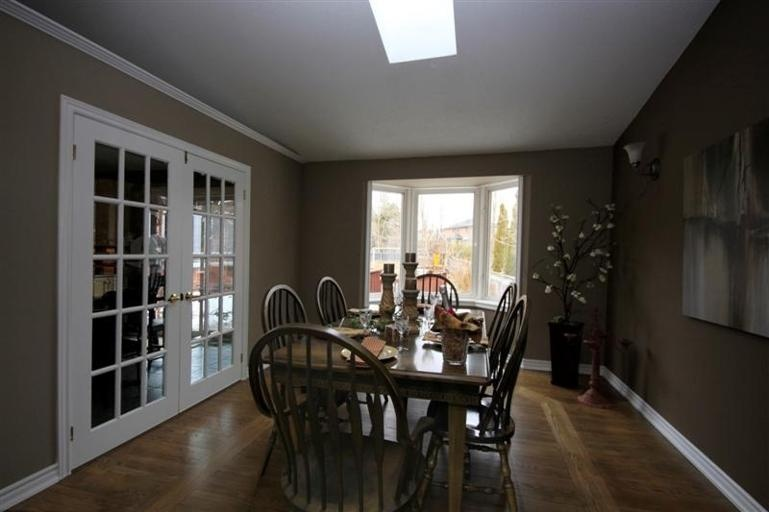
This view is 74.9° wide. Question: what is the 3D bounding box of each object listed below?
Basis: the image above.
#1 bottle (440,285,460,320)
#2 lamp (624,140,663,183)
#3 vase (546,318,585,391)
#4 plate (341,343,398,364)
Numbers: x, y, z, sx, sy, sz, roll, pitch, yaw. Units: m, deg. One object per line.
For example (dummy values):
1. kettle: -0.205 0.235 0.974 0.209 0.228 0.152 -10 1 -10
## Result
1. bottle: 0.581 0.462 4.441 0.115 0.401 0.162 -11 32 18
2. lamp: 2.325 -0.840 4.518 0.370 0.330 0.238 6 -7 -3
3. vase: 1.893 1.027 5.238 0.316 0.598 0.193 1 0 20
4. plate: -0.105 0.599 3.081 0.200 0.029 0.209 2 4 12
